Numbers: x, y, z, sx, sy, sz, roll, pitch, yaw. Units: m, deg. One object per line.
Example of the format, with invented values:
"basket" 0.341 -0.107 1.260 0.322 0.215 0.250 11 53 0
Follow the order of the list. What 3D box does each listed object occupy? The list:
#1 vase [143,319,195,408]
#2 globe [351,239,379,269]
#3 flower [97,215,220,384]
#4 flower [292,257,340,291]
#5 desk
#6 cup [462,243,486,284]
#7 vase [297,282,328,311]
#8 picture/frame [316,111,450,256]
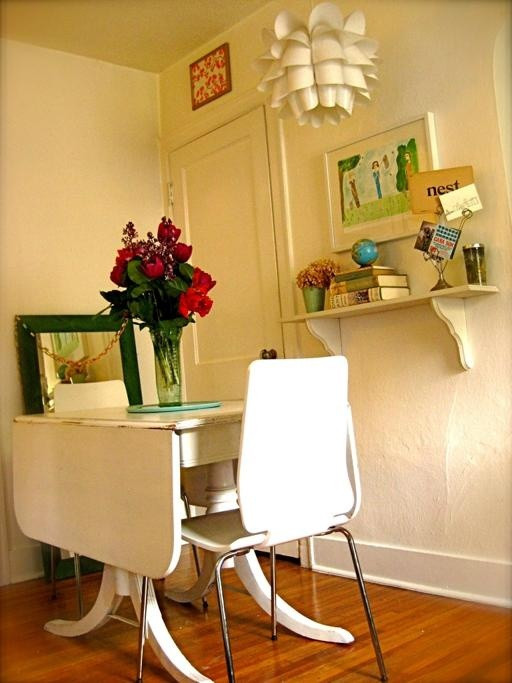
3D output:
"vase" -0.312 0.084 1.968 0.219 0.357 0.261 -1 -4 -5
"globe" 0.479 -0.387 2.397 0.100 0.129 0.098 -8 -8 25
"flower" -0.340 -0.170 1.952 0.325 0.645 0.305 -11 -10 39
"flower" 0.284 -0.305 2.554 0.168 0.123 0.132 0 -8 -27
"desk" -0.271 0.637 2.131 0.913 0.922 1.069 1 -4 -45
"cup" 0.832 -0.283 2.059 0.075 0.165 0.140 -8 -8 23
"vase" 0.268 -0.214 2.573 0.115 0.115 0.110 -2 0 -10
"picture/frame" 0.582 -0.697 2.406 0.033 0.596 0.739 -8 0 -35
